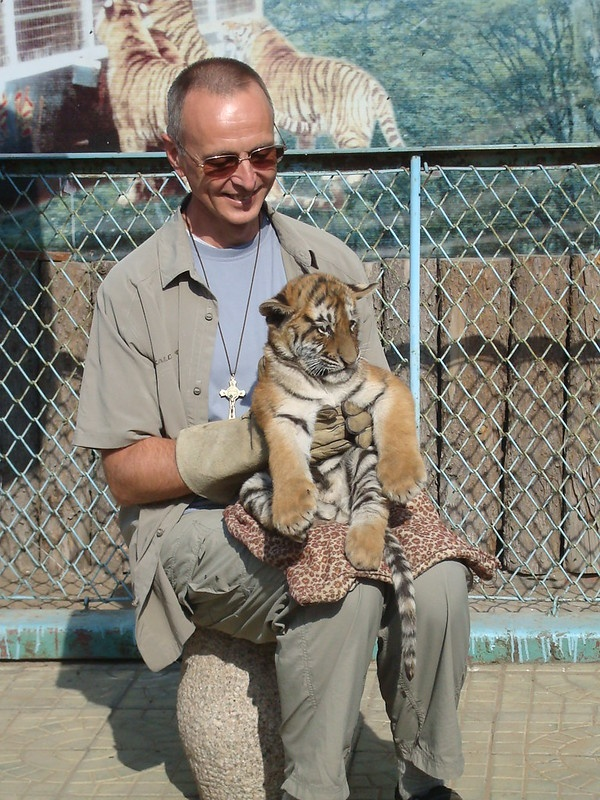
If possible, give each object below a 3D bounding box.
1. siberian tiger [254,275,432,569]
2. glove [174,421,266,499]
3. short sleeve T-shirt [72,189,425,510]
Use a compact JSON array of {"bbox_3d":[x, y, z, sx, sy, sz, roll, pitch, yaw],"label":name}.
[{"bbox_3d":[0.093,0.091,2.593,0.492,0.729,0.343,-8,-23,-6],"label":"siberian tiger"},{"bbox_3d":[-0.212,0.186,2.678,0.259,0.266,0.174,-2,9,3],"label":"glove"},{"bbox_3d":[-0.182,-0.098,2.854,1.030,0.810,0.513,-6,18,-15],"label":"short sleeve T-shirt"}]
